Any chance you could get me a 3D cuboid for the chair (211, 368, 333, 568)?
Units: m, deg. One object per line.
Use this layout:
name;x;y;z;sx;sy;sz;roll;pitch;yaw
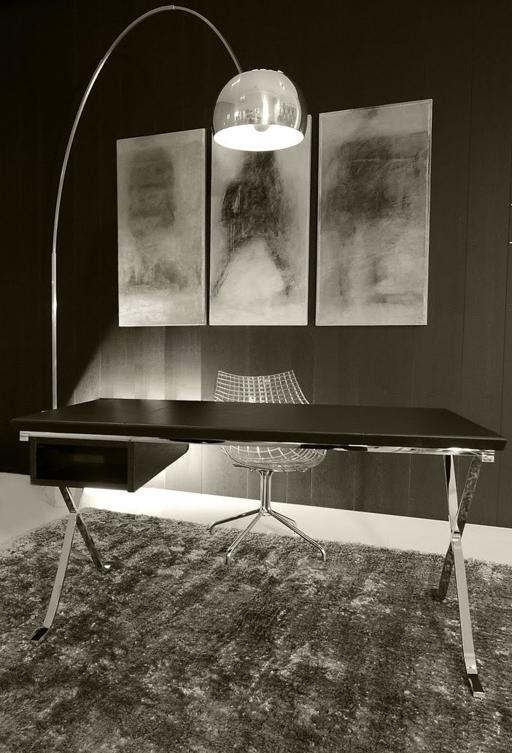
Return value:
chair;0.054;0.383;3.256;0.324;0.887;0.470;0;1;-6
